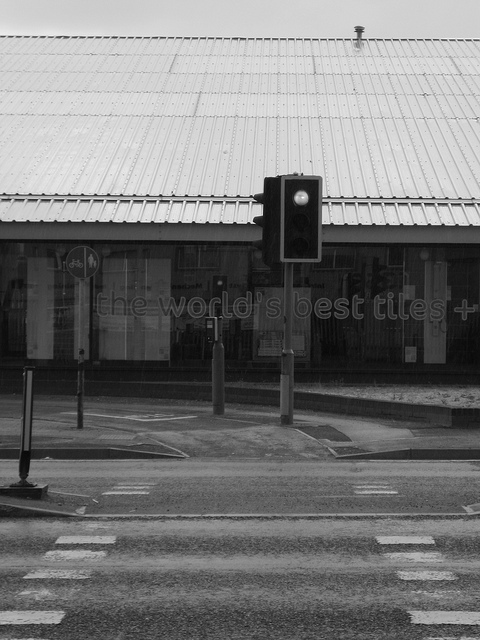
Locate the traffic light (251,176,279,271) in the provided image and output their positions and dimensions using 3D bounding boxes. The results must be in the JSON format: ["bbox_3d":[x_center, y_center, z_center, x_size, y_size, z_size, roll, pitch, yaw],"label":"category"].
[{"bbox_3d":[0.426,-1.686,14.927,0.349,1.575,0.349,-8,38,-10],"label":"traffic light"}]

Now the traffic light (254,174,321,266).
[{"bbox_3d":[0.817,-1.444,14.885,0.626,1.829,0.888,0,3,-9],"label":"traffic light"}]
